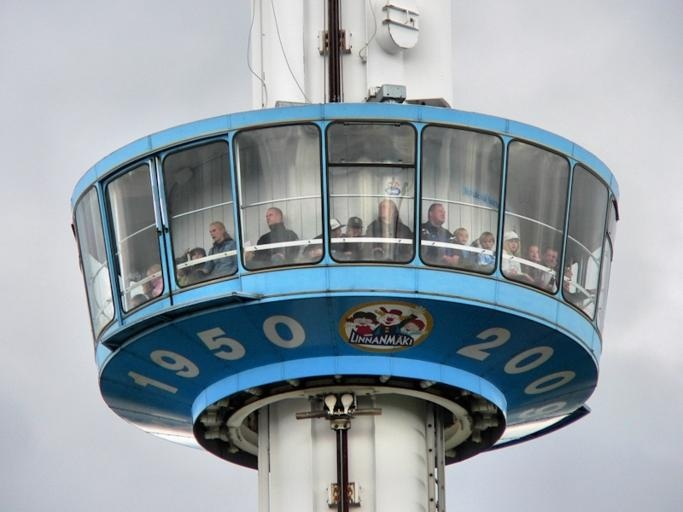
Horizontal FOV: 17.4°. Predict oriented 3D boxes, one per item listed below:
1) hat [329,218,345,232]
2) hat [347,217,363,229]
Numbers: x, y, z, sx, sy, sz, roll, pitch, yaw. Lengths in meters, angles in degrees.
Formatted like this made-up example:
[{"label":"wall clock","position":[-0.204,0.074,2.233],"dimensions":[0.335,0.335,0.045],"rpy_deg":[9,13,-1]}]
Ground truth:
[{"label":"hat","position":[-0.033,-0.632,52.703],"dimensions":[0.329,0.225,0.165],"rpy_deg":[-20,-93,13]},{"label":"hat","position":[0.407,-0.703,52.767],"dimensions":[0.361,0.221,0.169],"rpy_deg":[0,-49,-1]}]
